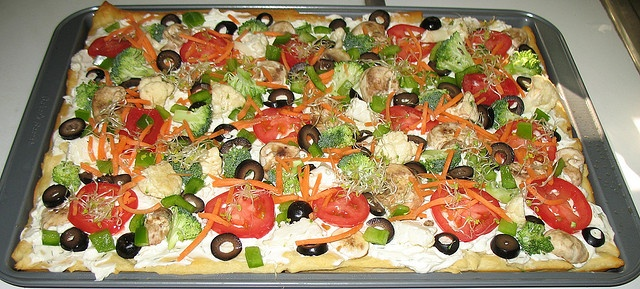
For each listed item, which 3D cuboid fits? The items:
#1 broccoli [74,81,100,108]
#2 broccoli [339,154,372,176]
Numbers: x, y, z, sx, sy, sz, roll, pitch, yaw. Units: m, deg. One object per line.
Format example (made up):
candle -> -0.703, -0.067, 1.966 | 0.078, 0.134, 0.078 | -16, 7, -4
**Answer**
broccoli -> -4.216, -0.887, 8.166 | 0.528, 0.148, 0.402 | 5, 78, 4
broccoli -> 0.604, 0.382, 7.724 | 0.465, 0.183, 0.394 | 29, 67, 28
